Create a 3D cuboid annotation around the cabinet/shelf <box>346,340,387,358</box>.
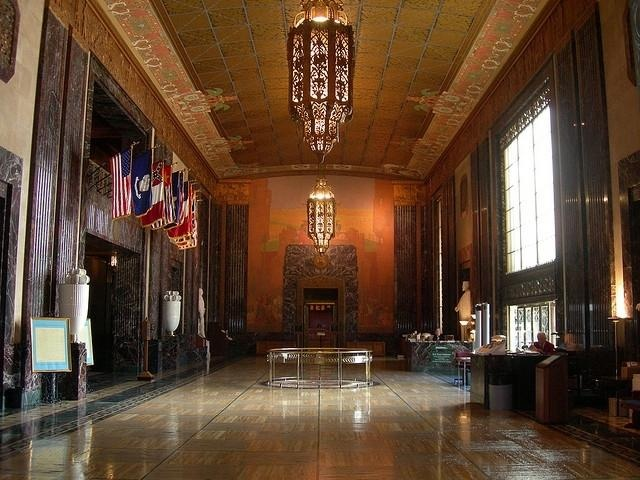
[{"bbox_3d":[2.402,5.391,21.522,1.747,0.733,0.396,-2,-12,2],"label":"cabinet/shelf"}]
